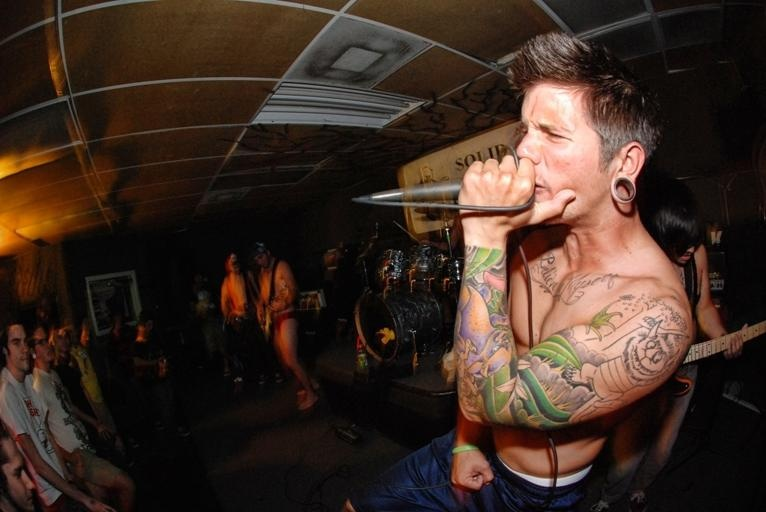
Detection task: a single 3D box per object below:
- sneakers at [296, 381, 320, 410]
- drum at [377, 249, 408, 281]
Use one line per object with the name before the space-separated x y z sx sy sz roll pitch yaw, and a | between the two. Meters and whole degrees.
sneakers | -0.280 0.520 1.777 0.041 0.111 0.058 -6 39 -41
drum | 0.025 0.043 2.110 0.105 0.145 0.144 3 -6 -36
